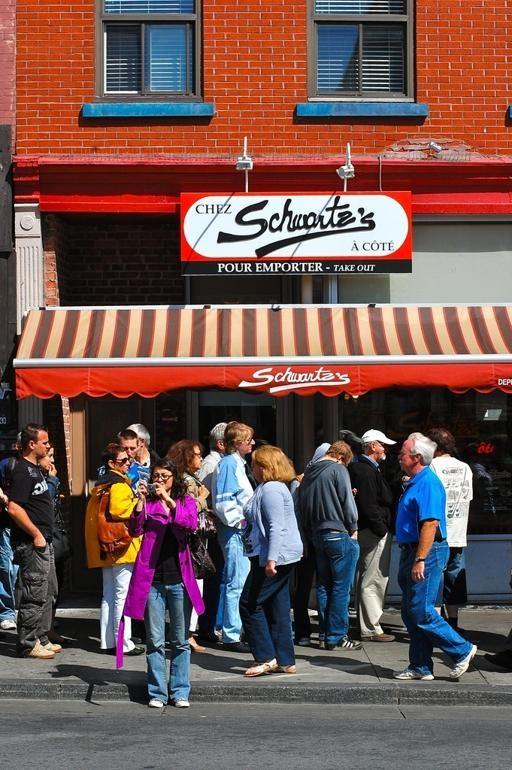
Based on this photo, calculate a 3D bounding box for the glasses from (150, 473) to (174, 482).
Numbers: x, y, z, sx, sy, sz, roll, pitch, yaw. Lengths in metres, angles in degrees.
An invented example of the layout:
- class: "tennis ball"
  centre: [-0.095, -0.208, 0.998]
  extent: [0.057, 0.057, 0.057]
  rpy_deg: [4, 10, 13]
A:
- class: "glasses"
  centre: [-0.657, 0.662, 9.478]
  extent: [0.145, 0.089, 0.059]
  rpy_deg: [0, 4, -2]

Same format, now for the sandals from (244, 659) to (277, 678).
- class: "sandals"
  centre: [0.042, 2.212, 10.375]
  extent: [0.272, 0.117, 0.101]
  rpy_deg: [-2, -4, -35]

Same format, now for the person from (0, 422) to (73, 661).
- class: "person"
  centre: [-1.827, 1.306, 11.007]
  extent: [0.433, 1.907, 0.637]
  rpy_deg: [0, 4, -9]

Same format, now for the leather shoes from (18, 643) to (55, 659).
- class: "leather shoes"
  centre: [-1.777, 2.160, 10.827]
  extent: [0.266, 0.145, 0.120]
  rpy_deg: [0, -1, -8]

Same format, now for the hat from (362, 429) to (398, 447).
- class: "hat"
  centre: [1.117, 0.481, 11.921]
  extent: [0.256, 0.120, 0.175]
  rpy_deg: [3, -1, -9]

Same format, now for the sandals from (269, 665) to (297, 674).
- class: "sandals"
  centre: [0.222, 2.231, 10.454]
  extent: [0.186, 0.093, 0.070]
  rpy_deg: [4, -3, -3]

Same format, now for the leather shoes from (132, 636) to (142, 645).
- class: "leather shoes"
  centre: [-1.031, 2.232, 11.570]
  extent: [0.085, 0.055, 0.148]
  rpy_deg: [1, 2, -1]

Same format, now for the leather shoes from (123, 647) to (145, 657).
- class: "leather shoes"
  centre: [-1.018, 2.230, 11.120]
  extent: [0.179, 0.083, 0.063]
  rpy_deg: [-5, 10, -15]

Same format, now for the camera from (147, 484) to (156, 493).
- class: "camera"
  centre: [-0.743, 0.747, 9.510]
  extent: [0.051, 0.082, 0.031]
  rpy_deg: [0, 5, 17]

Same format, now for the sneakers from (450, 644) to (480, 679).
- class: "sneakers"
  centre: [1.608, 2.161, 10.335]
  extent: [0.121, 0.276, 0.089]
  rpy_deg: [32, -4, -34]

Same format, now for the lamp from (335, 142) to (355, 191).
- class: "lamp"
  centre: [0.923, -2.262, 13.785]
  extent: [0.188, 0.517, 0.617]
  rpy_deg: [0, 5, 4]

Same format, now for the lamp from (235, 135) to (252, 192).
- class: "lamp"
  centre: [-0.112, -2.243, 13.602]
  extent: [0.161, 0.547, 0.175]
  rpy_deg: [-13, 22, -36]

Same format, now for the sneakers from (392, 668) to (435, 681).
- class: "sneakers"
  centre: [1.211, 2.248, 10.235]
  extent: [0.283, 0.150, 0.109]
  rpy_deg: [8, -13, -1]
